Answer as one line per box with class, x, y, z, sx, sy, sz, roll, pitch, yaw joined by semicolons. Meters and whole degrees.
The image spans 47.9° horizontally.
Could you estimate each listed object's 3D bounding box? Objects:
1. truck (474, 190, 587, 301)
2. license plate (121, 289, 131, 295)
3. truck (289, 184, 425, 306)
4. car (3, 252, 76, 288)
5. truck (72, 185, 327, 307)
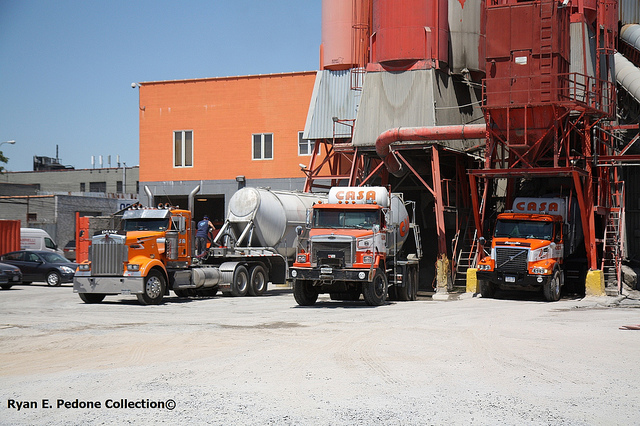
truck;9.924;1.574;33.529;2.551;4.135;6.941;-3;-8;29
license plate;-7.546;3.073;28.042;0.447;0.224;0.204;2;5;15
truck;2.008;1.509;30.566;2.962;4.152;7.409;-3;-7;18
car;-15.205;3.103;39.137;3.838;1.534;1.875;-1;-1;7
truck;-4.040;1.886;34.184;4.598;5.525;14.964;-2;-4;29
